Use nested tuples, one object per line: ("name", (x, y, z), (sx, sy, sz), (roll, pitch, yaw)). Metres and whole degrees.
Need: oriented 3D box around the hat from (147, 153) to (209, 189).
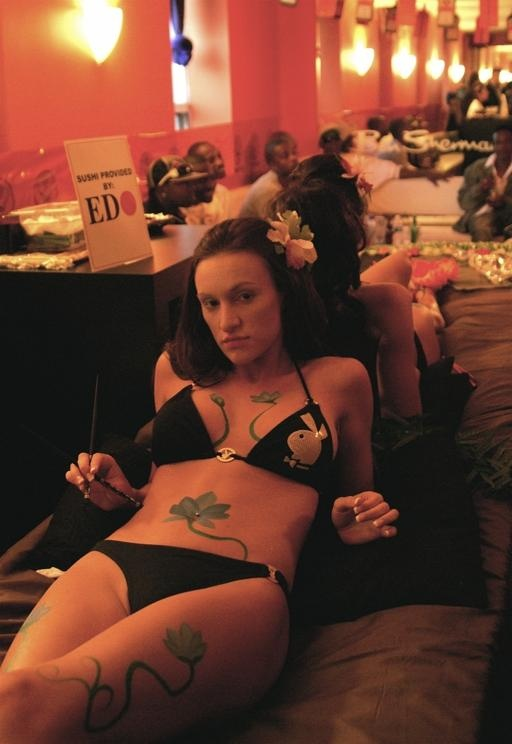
("hat", (-0.362, -0.913, 2.788), (0.215, 0.110, 0.154), (-5, 21, 9))
